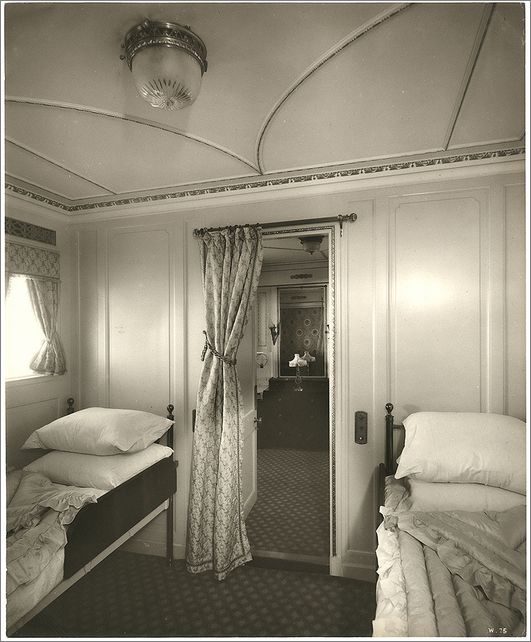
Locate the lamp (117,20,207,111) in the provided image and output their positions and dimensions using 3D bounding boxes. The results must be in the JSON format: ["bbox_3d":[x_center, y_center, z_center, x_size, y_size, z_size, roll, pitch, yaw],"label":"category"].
[{"bbox_3d":[-0.263,-0.662,1.294,0.193,0.176,0.225,-8,-13,19],"label":"lamp"}]

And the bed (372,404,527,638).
[{"bbox_3d":[0.555,0.502,1.412,0.363,0.426,0.654,2,4,4],"label":"bed"}]

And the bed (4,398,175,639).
[{"bbox_3d":[-0.574,0.589,1.640,0.320,0.410,0.544,-1,-2,9],"label":"bed"}]

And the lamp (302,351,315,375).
[{"bbox_3d":[0.352,0.345,3.889,0.147,0.254,0.043,0,-1,17],"label":"lamp"}]

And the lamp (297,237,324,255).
[{"bbox_3d":[0.256,-0.427,2.591,0.095,0.098,0.117,4,-6,-11],"label":"lamp"}]

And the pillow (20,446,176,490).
[{"bbox_3d":[-0.632,0.536,1.748,0.232,0.080,0.249,0,-2,17],"label":"pillow"}]
